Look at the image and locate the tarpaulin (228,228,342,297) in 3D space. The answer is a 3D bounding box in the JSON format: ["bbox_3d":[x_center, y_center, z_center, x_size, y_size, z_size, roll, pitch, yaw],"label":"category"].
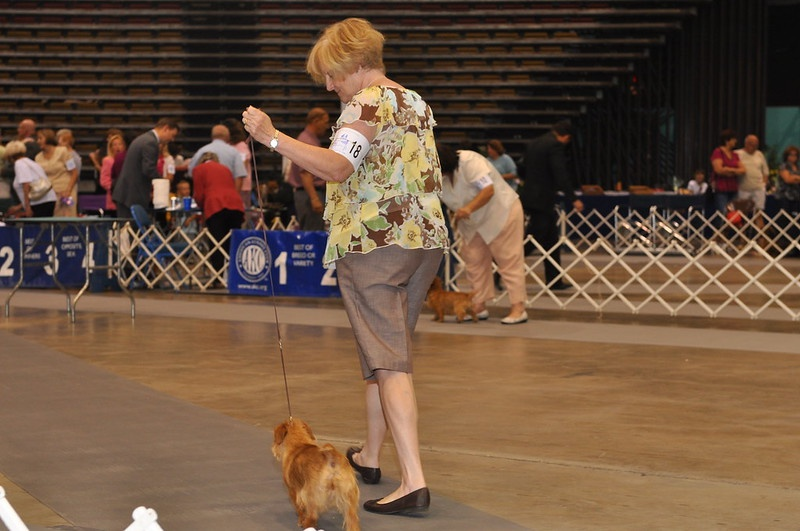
[{"bbox_3d":[-1.415,-0.036,14.109,1.504,0.804,0.016,2,-3,-30],"label":"tarpaulin"}]

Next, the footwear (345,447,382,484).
[{"bbox_3d":[-0.281,1.461,8.278,0.137,0.117,0.368,-11,31,-26],"label":"footwear"}]

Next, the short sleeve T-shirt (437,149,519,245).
[{"bbox_3d":[0.840,-0.712,11.999,0.788,0.979,0.401,0,2,5],"label":"short sleeve T-shirt"}]

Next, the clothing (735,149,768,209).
[{"bbox_3d":[6.142,-1.407,19.888,0.587,1.526,0.488,-3,-3,20],"label":"clothing"}]

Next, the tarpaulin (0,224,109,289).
[{"bbox_3d":[-4.811,-0.034,14.774,1.686,0.906,1.080,0,4,24],"label":"tarpaulin"}]

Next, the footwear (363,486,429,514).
[{"bbox_3d":[-0.027,1.625,7.969,0.461,0.188,0.169,4,-2,18],"label":"footwear"}]

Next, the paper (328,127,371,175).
[{"bbox_3d":[-0.333,-0.808,7.883,0.283,0.214,0.272,32,-4,14],"label":"paper"}]
